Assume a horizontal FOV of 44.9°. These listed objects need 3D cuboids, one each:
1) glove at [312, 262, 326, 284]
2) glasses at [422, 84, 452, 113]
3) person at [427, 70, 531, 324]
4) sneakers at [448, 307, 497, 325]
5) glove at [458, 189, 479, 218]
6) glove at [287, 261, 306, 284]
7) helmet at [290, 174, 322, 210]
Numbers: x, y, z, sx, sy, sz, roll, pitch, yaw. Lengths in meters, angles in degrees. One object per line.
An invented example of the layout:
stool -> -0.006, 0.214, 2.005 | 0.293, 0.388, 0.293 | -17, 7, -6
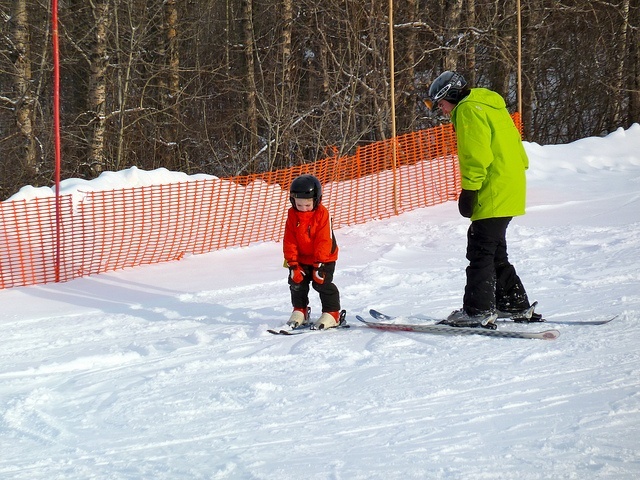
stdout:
glove -> -0.020, 0.384, 9.031 | 0.148, 0.254, 0.091 | -5, 6, 9
glasses -> 1.344, -1.620, 8.737 | 0.334, 0.136, 0.222 | -32, 8, 3
person -> 1.851, -0.367, 8.668 | 0.933, 2.670, 0.341 | -8, 6, -21
sneakers -> 1.644, 0.858, 8.696 | 0.597, 0.191, 0.188 | 2, -7, 14
glove -> 1.625, -0.414, 8.572 | 0.201, 0.322, 0.167 | -4, 6, 18
glove -> -0.282, 0.374, 9.131 | 0.238, 0.233, 0.119 | -7, 26, 22
helmet -> -0.150, -0.555, 9.082 | 0.478, 0.386, 0.421 | 0, 9, -10
